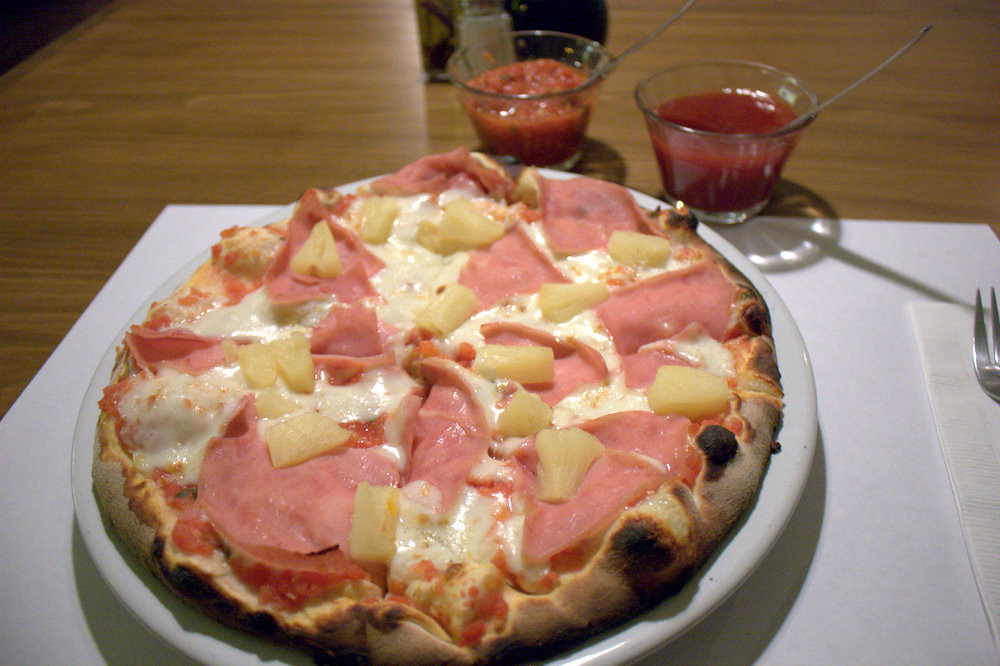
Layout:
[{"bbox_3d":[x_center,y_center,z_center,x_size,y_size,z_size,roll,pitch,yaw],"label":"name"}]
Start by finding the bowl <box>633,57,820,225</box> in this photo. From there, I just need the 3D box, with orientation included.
[{"bbox_3d":[0.676,-0.628,2.809,0.541,0.360,0.524,-2,44,2],"label":"bowl"}]
